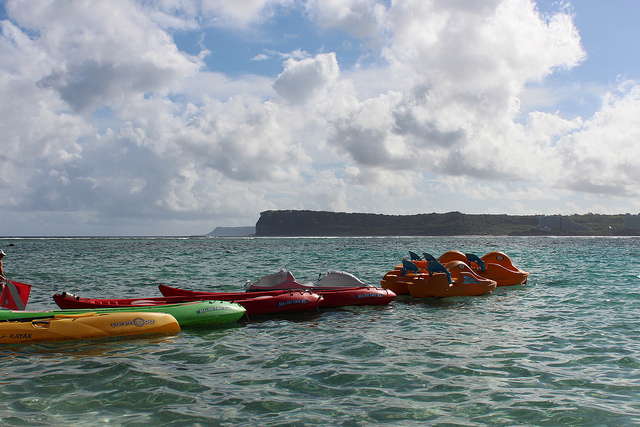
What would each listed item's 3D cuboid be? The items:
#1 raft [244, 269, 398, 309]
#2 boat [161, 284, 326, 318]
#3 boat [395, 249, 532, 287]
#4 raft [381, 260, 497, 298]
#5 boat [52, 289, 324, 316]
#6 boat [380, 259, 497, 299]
[{"bbox_3d":[-0.738,3.276,18.387,8.448,1.685,1.944,0,-6,-6],"label":"raft"},{"bbox_3d":[-3.421,3.382,16.846,7.935,1.206,1.782,1,-8,-2],"label":"boat"},{"bbox_3d":[8.012,2.998,21.218,6.373,1.361,2.589,1,0,-6],"label":"boat"},{"bbox_3d":[5.799,3.033,20.855,4.515,1.203,4.864,3,3,44],"label":"raft"},{"bbox_3d":[-4.979,3.504,16.593,10.701,0.976,1.812,2,-20,-10],"label":"boat"},{"bbox_3d":[5.584,3.115,19.679,3.529,0.802,2.488,0,-4,-10],"label":"boat"}]
